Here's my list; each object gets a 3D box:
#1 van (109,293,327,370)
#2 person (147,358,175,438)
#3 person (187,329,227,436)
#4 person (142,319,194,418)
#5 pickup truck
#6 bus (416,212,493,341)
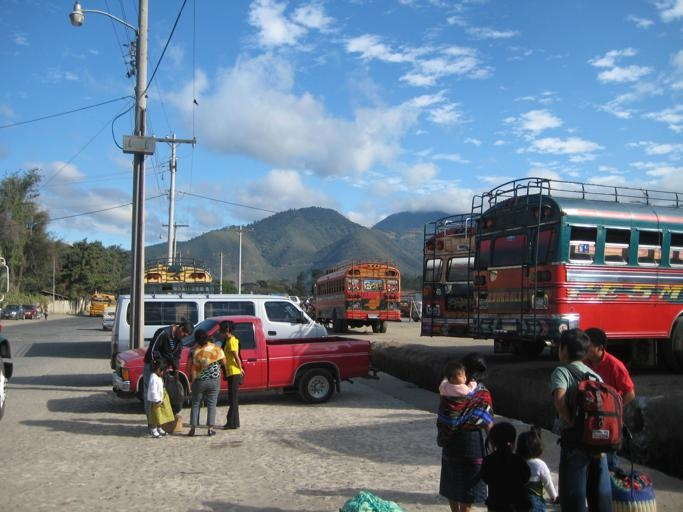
[{"bbox_3d":[-3.382,2.241,18.832,6.306,2.405,2.324,1,3,-6],"label":"van"},{"bbox_3d":[-3.296,2.592,11.408,0.516,1.367,0.395,3,-3,-29],"label":"person"},{"bbox_3d":[-2.531,2.338,11.614,0.642,1.897,0.558,2,-3,-9],"label":"person"},{"bbox_3d":[-3.429,2.123,12.119,0.626,2.071,0.574,4,22,-27],"label":"person"},{"bbox_3d":[-2.019,2.388,14.158,4.587,1.642,2.536,2,-5,-25],"label":"pickup truck"},{"bbox_3d":[4.097,1.526,23.008,2.242,3.994,7.654,1,-10,9],"label":"bus"}]
